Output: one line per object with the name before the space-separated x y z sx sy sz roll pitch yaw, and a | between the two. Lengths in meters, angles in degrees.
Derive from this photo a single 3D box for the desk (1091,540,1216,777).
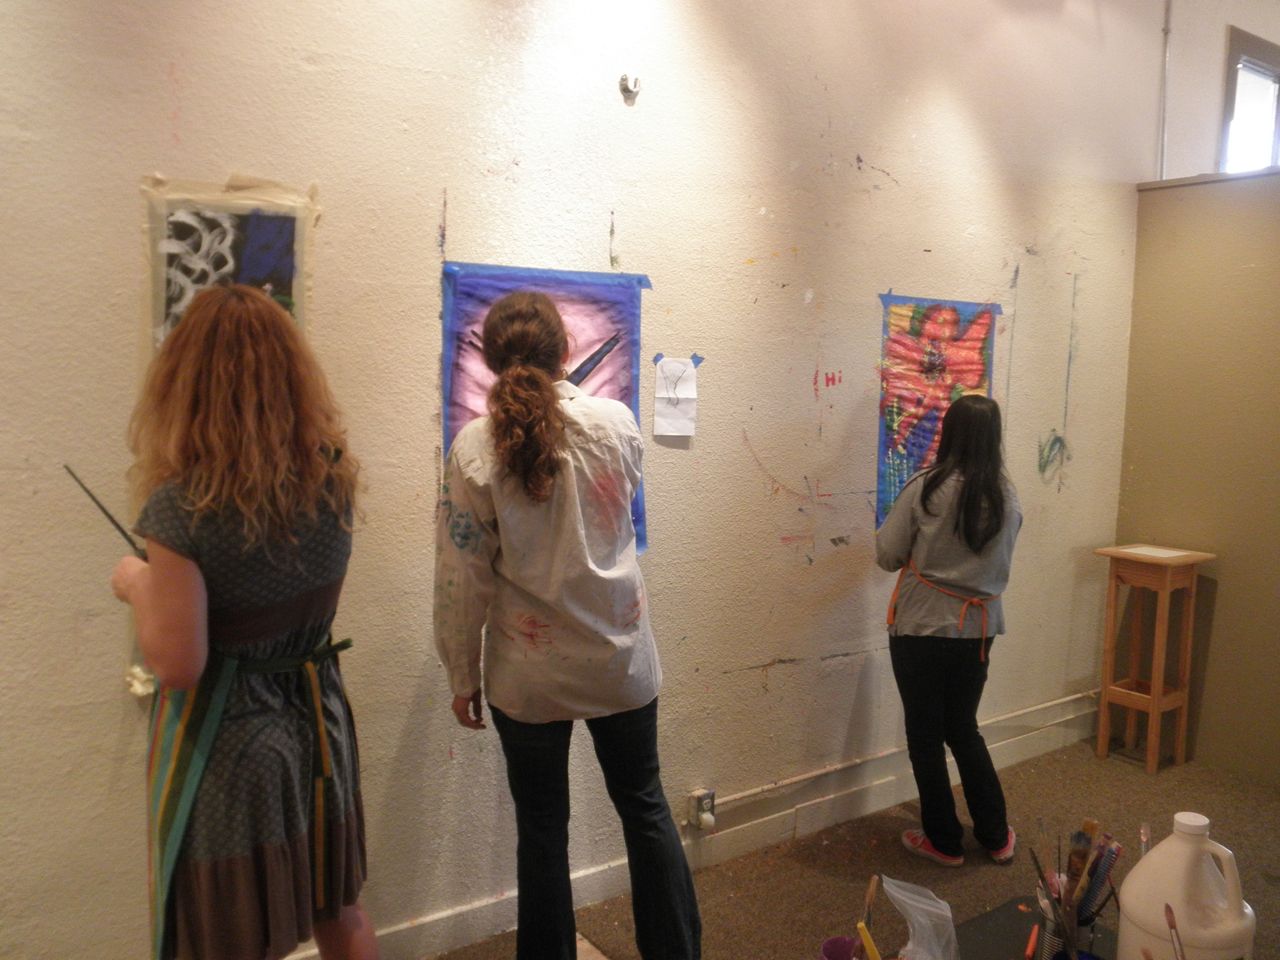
desk | 2.158 0.744 4.423 0.461 0.919 0.413 13 17 43

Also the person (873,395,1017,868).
person | 1.082 0.516 3.542 0.552 1.612 0.339 3 12 7
